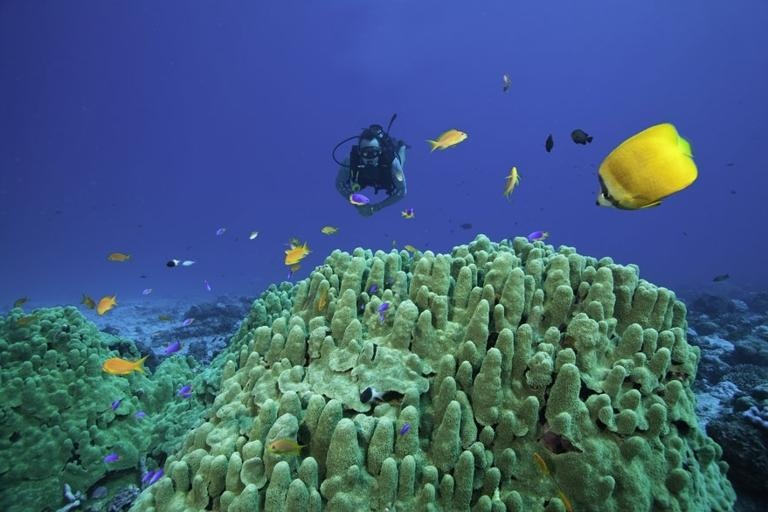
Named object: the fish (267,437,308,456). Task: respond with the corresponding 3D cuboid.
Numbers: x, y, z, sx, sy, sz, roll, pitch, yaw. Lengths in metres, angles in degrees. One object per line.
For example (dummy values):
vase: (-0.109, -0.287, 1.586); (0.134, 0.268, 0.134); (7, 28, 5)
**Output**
fish: (-1.867, 3.640, 11.203); (0.725, 0.268, 0.319); (0, -33, -11)
